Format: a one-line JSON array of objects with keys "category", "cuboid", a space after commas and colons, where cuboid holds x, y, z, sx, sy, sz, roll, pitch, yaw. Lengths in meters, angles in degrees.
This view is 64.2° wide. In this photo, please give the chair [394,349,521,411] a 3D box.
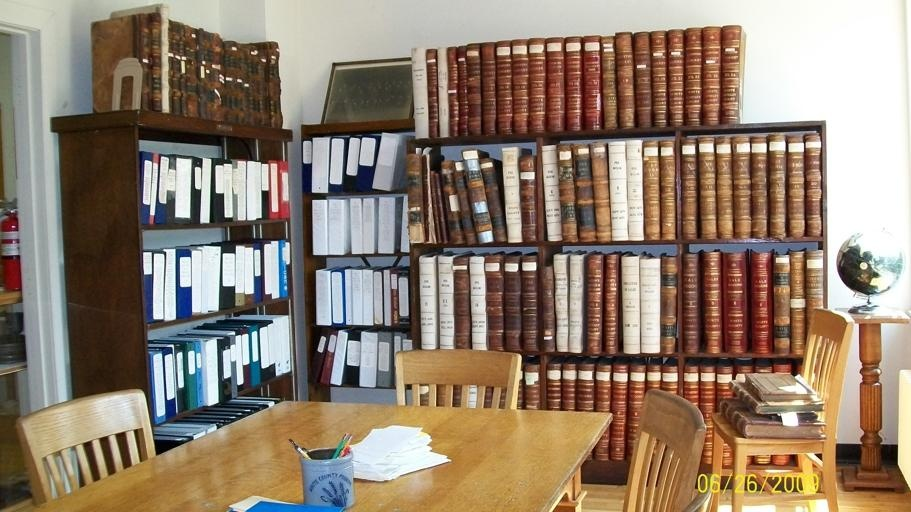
[{"category": "chair", "cuboid": [0.009, 0.639, 3.753, 0.573, 0.284, 0.313, 1, 5, 35]}]

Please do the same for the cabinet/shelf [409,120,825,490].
[{"category": "cabinet/shelf", "cuboid": [1.085, 0.275, 4.409, 3.246, 2.103, 0.878, -1, 2, 17]}]
